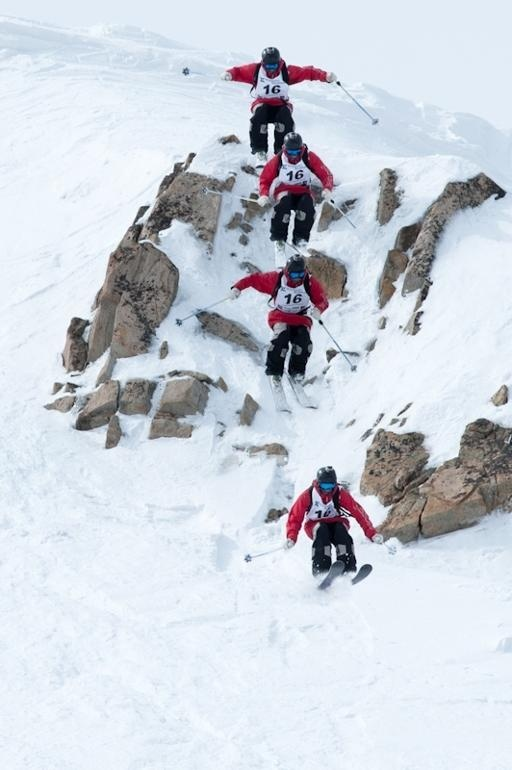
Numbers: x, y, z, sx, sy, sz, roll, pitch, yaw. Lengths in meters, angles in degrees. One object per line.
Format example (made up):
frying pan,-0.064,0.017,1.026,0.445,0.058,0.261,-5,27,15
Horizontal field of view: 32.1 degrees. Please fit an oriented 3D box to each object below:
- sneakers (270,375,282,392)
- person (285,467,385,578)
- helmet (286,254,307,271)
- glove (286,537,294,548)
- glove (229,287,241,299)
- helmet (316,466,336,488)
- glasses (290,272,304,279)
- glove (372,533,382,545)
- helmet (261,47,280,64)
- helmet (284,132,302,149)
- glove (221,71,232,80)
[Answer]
sneakers,0.280,-0.024,13.339,0.154,0.255,0.046,-1,3,1
person,0.901,1.597,10.091,1.034,0.927,1.285,-8,81,11
helmet,0.516,-1.662,12.157,0.216,0.207,0.250,0,19,-11
glove,0.358,1.739,9.827,0.097,0.085,0.069,-3,24,-15
glove,-0.313,-1.266,12.336,0.153,0.054,0.179,3,69,-6
helmet,0.775,1.036,10.095,0.191,0.194,0.240,2,10,-3
glasses,0.541,-1.480,12.148,0.120,0.038,0.102,-3,53,-6
glove,1.320,1.709,9.895,0.101,0.048,0.120,5,76,-32
helmet,0.223,-5.434,14.755,0.290,0.380,0.433,4,39,-1
helmet,0.543,-3.647,13.407,0.233,0.214,0.277,-4,18,-3
glove,-0.519,-5.272,15.301,0.146,0.233,0.093,3,70,-5
